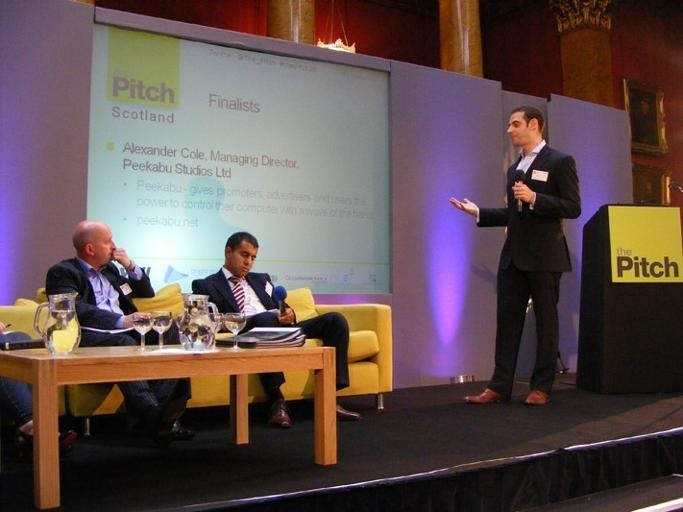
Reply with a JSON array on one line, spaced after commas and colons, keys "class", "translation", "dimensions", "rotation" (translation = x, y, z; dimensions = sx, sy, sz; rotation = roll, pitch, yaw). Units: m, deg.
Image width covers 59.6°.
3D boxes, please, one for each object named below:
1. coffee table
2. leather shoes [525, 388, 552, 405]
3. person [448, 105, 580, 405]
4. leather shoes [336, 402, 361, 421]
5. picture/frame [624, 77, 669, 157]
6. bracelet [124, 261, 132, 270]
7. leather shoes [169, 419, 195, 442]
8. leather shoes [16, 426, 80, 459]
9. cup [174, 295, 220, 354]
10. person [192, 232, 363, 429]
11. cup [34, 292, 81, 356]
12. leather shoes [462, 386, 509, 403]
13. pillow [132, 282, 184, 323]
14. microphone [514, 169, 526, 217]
[{"class": "coffee table", "translation": [-0.723, 0.664, 2.597], "dimensions": [1.396, 0.551, 0.496], "rotation": [0, -3, -21]}, {"class": "leather shoes", "translation": [1.298, 0.918, 3.908], "dimensions": [0.232, 0.079, 0.132], "rotation": [0, -3, -27]}, {"class": "person", "translation": [1.236, -0.038, 4.057], "dimensions": [0.736, 2.016, 0.526], "rotation": [-1, -2, 11]}, {"class": "leather shoes", "translation": [0.034, 0.928, 3.528], "dimensions": [0.189, 0.091, 0.068], "rotation": [1, -6, -1]}, {"class": "picture/frame", "translation": [4.520, -2.049, 8.848], "dimensions": [0.967, 1.066, 0.149], "rotation": [0, -3, -31]}, {"class": "bracelet", "translation": [-1.270, 0.058, 3.580], "dimensions": [0.045, 0.037, 0.047], "rotation": [-2, 3, -27]}, {"class": "leather shoes", "translation": [-0.799, 0.914, 3.141], "dimensions": [0.181, 0.100, 0.071], "rotation": [-2, -9, 8]}, {"class": "leather shoes", "translation": [-1.372, 0.860, 2.791], "dimensions": [0.288, 0.141, 0.109], "rotation": [-4, 0, -8]}, {"class": "cup", "translation": [-0.605, 0.286, 2.591], "dimensions": [0.205, 0.242, 0.154], "rotation": [0, -4, -29]}, {"class": "person", "translation": [-0.437, 0.401, 3.785], "dimensions": [1.075, 1.440, 0.732], "rotation": [-23, -28, 36]}, {"class": "cup", "translation": [-1.178, 0.284, 2.488], "dimensions": [0.162, 0.242, 0.142], "rotation": [0, -6, -15]}, {"class": "leather shoes", "translation": [0.961, 0.925, 4.029], "dimensions": [0.304, 0.143, 0.107], "rotation": [1, -8, -8]}, {"class": "pillow", "translation": [-1.121, 0.280, 3.777], "dimensions": [0.301, 0.145, 0.320], "rotation": [-2, 16, -10]}, {"class": "microphone", "translation": [1.201, -0.432, 4.006], "dimensions": [0.061, 0.282, 0.189], "rotation": [-2, -2, 19]}]
